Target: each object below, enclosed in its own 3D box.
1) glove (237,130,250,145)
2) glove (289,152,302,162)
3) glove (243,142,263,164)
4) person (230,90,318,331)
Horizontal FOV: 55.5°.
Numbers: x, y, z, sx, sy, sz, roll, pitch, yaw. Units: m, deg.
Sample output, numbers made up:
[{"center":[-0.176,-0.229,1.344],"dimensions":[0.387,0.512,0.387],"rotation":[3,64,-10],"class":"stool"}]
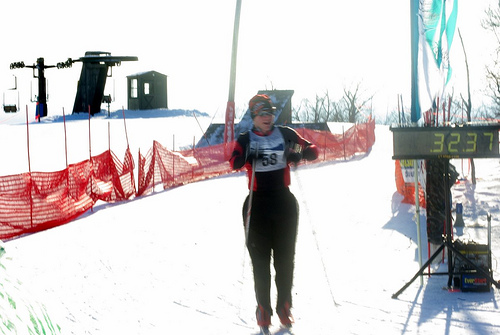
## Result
[{"center":[-0.095,-0.424,6.860],"dimensions":[0.181,0.190,0.191],"rotation":[-2,8,-1],"class":"glove"},{"center":[0.637,-0.139,6.755],"dimensions":[0.118,0.095,0.113],"rotation":[-1,1,-44],"class":"glove"},{"center":[0.009,-0.209,6.719],"dimensions":[0.214,0.312,0.106],"rotation":[11,-4,-8],"class":"glove"},{"center":[0.293,0.612,6.764],"dimensions":[1.042,3.233,0.734],"rotation":[-2,7,-4],"class":"person"}]
